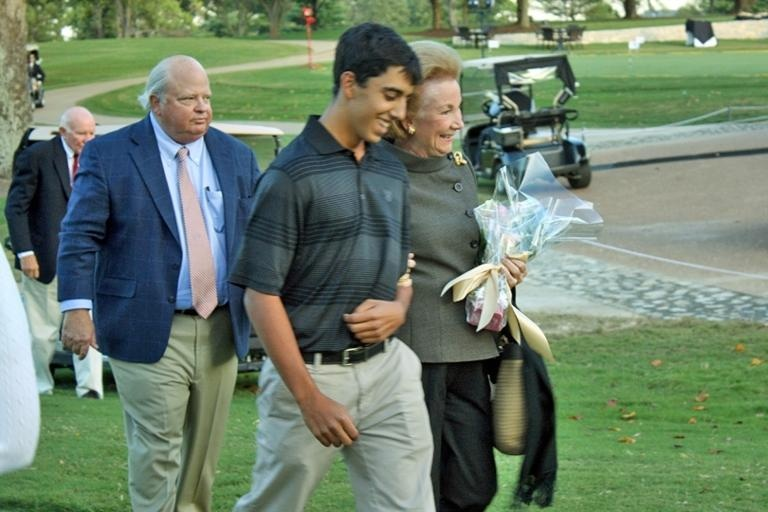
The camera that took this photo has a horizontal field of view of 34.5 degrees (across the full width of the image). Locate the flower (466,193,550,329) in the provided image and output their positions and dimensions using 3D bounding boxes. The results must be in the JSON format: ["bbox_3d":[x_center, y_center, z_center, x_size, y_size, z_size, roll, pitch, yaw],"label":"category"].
[{"bbox_3d":[0.831,-0.018,8.219,0.629,0.852,0.279,21,-11,-7],"label":"flower"}]

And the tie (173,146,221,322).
[{"bbox_3d":[-1.289,-0.176,8.487,0.213,1.220,0.127,-12,-5,33],"label":"tie"}]
